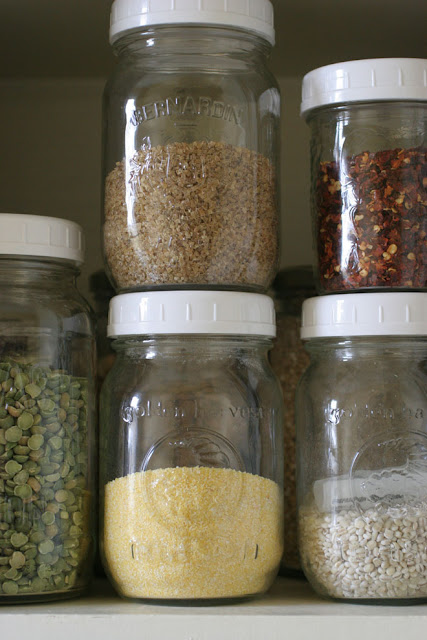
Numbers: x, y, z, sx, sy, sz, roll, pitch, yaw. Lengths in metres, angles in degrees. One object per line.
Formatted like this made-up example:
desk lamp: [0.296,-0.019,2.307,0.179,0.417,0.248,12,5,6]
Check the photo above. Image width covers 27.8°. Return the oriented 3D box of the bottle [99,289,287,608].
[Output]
bottle: [-0.015,0.147,0.938,0.200,0.321,0.193,-1,-11,0]
